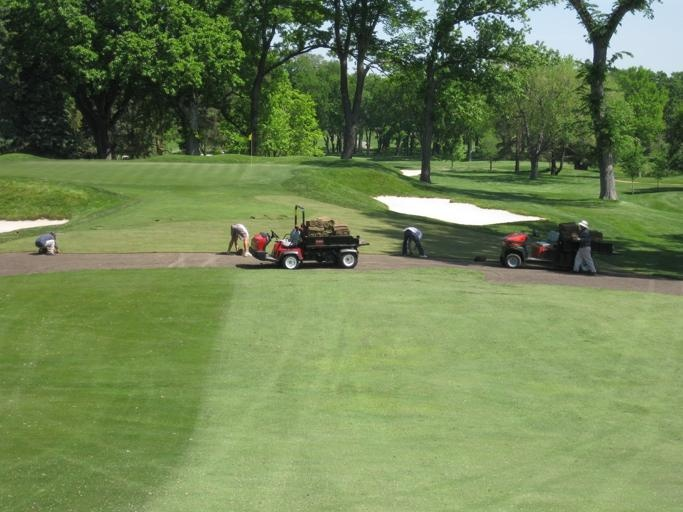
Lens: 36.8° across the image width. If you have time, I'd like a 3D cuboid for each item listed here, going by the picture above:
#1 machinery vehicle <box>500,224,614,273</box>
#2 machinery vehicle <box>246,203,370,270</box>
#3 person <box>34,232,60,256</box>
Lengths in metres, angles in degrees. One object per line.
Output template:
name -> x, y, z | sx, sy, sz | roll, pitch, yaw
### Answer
machinery vehicle -> 12.165, -0.431, 58.093 | 6.189, 2.793, 2.887 | 3, -1, 11
machinery vehicle -> -1.941, -1.019, 55.073 | 5.780, 3.023, 3.238 | 2, 0, -16
person -> -15.604, -0.712, 54.867 | 1.069, 1.065, 1.310 | 10, 14, 19
